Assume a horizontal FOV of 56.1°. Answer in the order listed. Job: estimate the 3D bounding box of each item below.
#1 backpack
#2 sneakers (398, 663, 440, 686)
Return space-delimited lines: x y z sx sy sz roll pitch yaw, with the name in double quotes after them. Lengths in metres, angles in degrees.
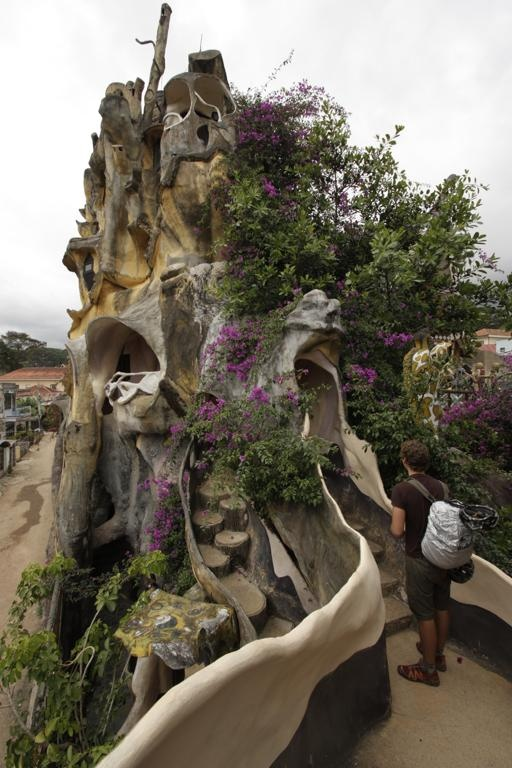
1.232 0.904 3.198 0.340 0.511 0.553 0 7 -19 "backpack"
1.143 2.050 3.444 0.292 0.119 0.111 2 0 38 "sneakers"
